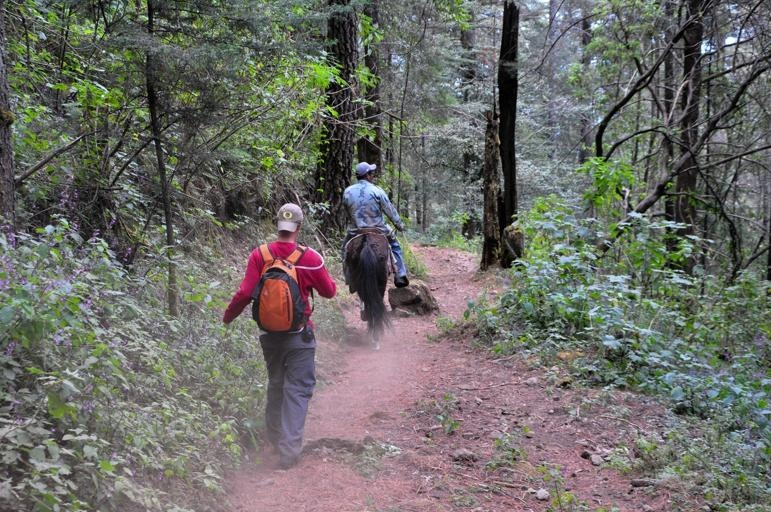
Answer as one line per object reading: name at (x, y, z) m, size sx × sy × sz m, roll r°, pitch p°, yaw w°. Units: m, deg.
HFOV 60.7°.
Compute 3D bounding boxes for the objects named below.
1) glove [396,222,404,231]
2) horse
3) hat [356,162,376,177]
glove at (0.270, -0.560, 12.779) m, size 0.065 × 0.245 × 0.093 m, roll -8°, pitch -4°, yaw 11°
horse at (-0.324, 0.625, 12.551) m, size 0.850 × 2.233 × 0.742 m, roll 1°, pitch 14°, yaw -2°
hat at (-0.368, -1.686, 12.632) m, size 0.256 × 0.208 × 0.400 m, roll 13°, pitch 34°, yaw 38°
